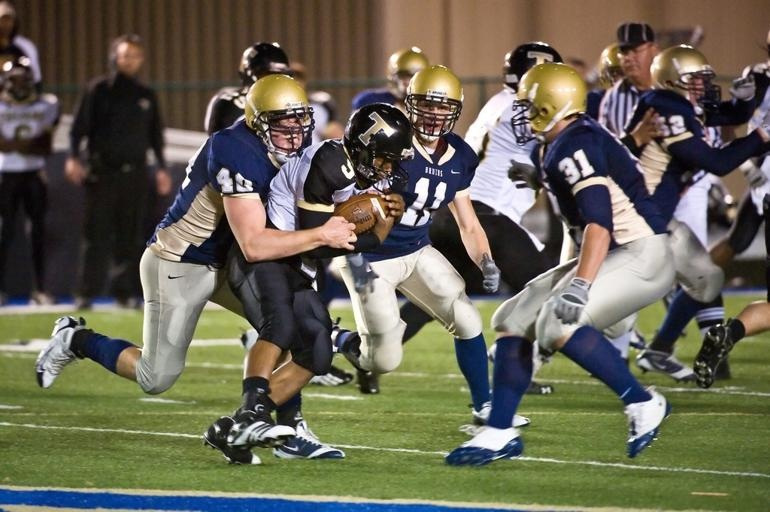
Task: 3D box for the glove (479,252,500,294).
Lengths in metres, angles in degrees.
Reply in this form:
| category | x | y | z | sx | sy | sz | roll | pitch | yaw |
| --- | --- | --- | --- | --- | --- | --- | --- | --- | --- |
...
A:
| category | x | y | z | sx | sy | sz | roll | pitch | yaw |
| --- | --- | --- | --- | --- | --- | --- | --- | --- | --- |
| glove | 0.570 | 0.091 | 5.208 | 0.123 | 0.188 | 0.086 | -28 | -9 | 40 |

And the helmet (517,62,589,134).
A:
| category | x | y | z | sx | sy | sz | roll | pitch | yaw |
| --- | --- | --- | --- | --- | --- | --- | --- | --- | --- |
| helmet | 0.844 | -0.826 | 4.975 | 0.382 | 0.353 | 0.290 | 12 | 18 | 19 |

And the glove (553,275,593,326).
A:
| category | x | y | z | sx | sy | sz | roll | pitch | yaw |
| --- | --- | --- | --- | --- | --- | --- | --- | --- | --- |
| glove | 0.869 | 0.208 | 4.528 | 0.138 | 0.234 | 0.071 | 26 | -7 | 27 |

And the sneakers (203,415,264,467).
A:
| category | x | y | z | sx | sy | sz | roll | pitch | yaw |
| --- | --- | --- | --- | --- | --- | --- | --- | --- | --- |
| sneakers | -0.694 | 0.884 | 4.640 | 0.374 | 0.152 | 0.127 | 22 | 16 | 17 |

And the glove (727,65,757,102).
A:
| category | x | y | z | sx | sy | sz | roll | pitch | yaw |
| --- | --- | --- | --- | --- | --- | --- | --- | --- | --- |
| glove | 2.063 | -1.007 | 5.624 | 0.148 | 0.197 | 0.203 | 2 | 6 | 5 |

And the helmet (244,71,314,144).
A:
| category | x | y | z | sx | sy | sz | roll | pitch | yaw |
| --- | --- | --- | --- | --- | --- | --- | --- | --- | --- |
| helmet | -0.535 | -0.773 | 4.879 | 0.305 | 0.300 | 0.349 | -19 | 30 | -41 |

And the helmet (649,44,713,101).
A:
| category | x | y | z | sx | sy | sz | roll | pitch | yaw |
| --- | --- | --- | --- | --- | --- | --- | --- | --- | --- |
| helmet | 1.733 | -1.112 | 5.755 | 0.354 | 0.299 | 0.304 | 8 | 28 | 21 |

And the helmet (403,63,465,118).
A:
| category | x | y | z | sx | sy | sz | roll | pitch | yaw |
| --- | --- | --- | --- | --- | --- | --- | --- | --- | --- |
| helmet | 0.262 | -0.907 | 5.293 | 0.247 | 0.249 | 0.306 | 9 | 19 | -8 |

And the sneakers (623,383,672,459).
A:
| category | x | y | z | sx | sy | sz | roll | pitch | yaw |
| --- | --- | --- | --- | --- | --- | --- | --- | --- | --- |
| sneakers | 1.232 | 0.791 | 4.719 | 0.208 | 0.406 | 0.139 | 14 | 2 | -11 |

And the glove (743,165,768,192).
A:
| category | x | y | z | sx | sy | sz | roll | pitch | yaw |
| --- | --- | --- | --- | --- | --- | --- | --- | --- | --- |
| glove | 2.241 | -0.495 | 5.954 | 0.149 | 0.159 | 0.230 | 3 | 6 | 7 |

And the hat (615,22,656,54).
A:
| category | x | y | z | sx | sy | sz | roll | pitch | yaw |
| --- | --- | --- | --- | --- | --- | --- | --- | --- | --- |
| hat | 1.781 | -1.561 | 6.944 | 0.192 | 0.158 | 0.283 | 4 | 24 | 45 |

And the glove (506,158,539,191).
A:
| category | x | y | z | sx | sy | sz | roll | pitch | yaw |
| --- | --- | --- | --- | --- | --- | --- | --- | --- | --- |
| glove | 0.796 | -0.462 | 5.465 | 0.202 | 0.160 | 0.174 | 1 | 6 | -8 |

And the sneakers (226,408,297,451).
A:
| category | x | y | z | sx | sy | sz | roll | pitch | yaw |
| --- | --- | --- | --- | --- | --- | --- | --- | --- | --- |
| sneakers | -0.587 | 0.825 | 4.513 | 0.370 | 0.180 | 0.132 | -4 | 35 | 11 |

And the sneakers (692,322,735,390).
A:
| category | x | y | z | sx | sy | sz | roll | pitch | yaw |
| --- | --- | --- | --- | --- | --- | --- | --- | --- | --- |
| sneakers | 1.827 | 0.591 | 5.606 | 0.164 | 0.441 | 0.205 | 28 | 32 | 23 |

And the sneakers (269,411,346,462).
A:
| category | x | y | z | sx | sy | sz | roll | pitch | yaw |
| --- | --- | --- | --- | --- | --- | --- | --- | --- | --- |
| sneakers | -0.385 | 0.928 | 4.855 | 0.448 | 0.267 | 0.156 | 2 | -9 | 1 |

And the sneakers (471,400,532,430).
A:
| category | x | y | z | sx | sy | sz | roll | pitch | yaw |
| --- | --- | --- | --- | --- | --- | --- | --- | --- | --- |
| sneakers | 0.575 | 0.860 | 5.192 | 0.381 | 0.162 | 0.131 | -7 | 2 | 35 |

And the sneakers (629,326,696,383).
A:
| category | x | y | z | sx | sy | sz | roll | pitch | yaw |
| --- | --- | --- | --- | --- | --- | --- | --- | --- | --- |
| sneakers | 1.762 | 0.693 | 6.115 | 0.358 | 0.240 | 0.246 | 3 | 6 | 15 |
